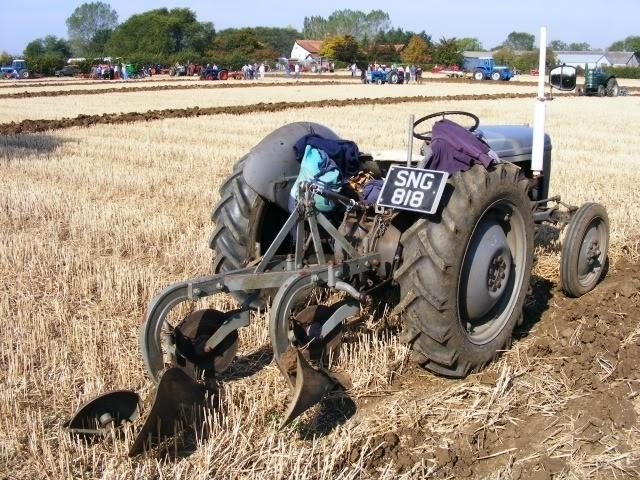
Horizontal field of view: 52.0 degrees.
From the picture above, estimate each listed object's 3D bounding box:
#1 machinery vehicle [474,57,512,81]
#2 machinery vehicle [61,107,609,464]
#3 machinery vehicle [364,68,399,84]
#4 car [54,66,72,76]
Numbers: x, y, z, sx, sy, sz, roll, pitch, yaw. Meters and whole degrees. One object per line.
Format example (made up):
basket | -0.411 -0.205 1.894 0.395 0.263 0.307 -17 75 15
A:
machinery vehicle | 11.318 -11.002 42.509 2.089 1.615 1.396 2 19 17
machinery vehicle | 0.458 0.085 4.900 3.964 1.666 1.940 -26 35 -36
machinery vehicle | 3.979 -10.382 41.410 2.405 0.847 1.682 8 20 21
car | -22.712 -14.965 58.004 1.556 0.865 0.912 -11 18 -38
